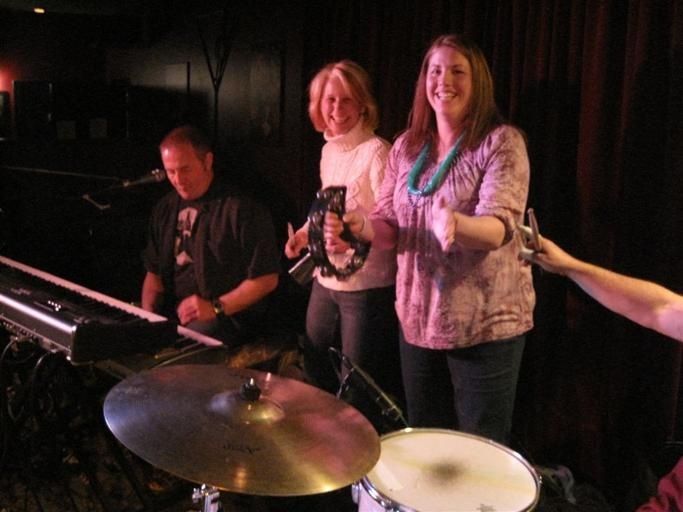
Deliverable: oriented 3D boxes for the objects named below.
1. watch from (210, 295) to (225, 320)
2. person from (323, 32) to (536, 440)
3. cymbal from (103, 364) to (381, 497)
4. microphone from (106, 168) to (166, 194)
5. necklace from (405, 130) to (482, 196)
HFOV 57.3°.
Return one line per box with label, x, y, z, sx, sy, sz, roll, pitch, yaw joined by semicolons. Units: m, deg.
watch;-0.580;0.250;2.990;0.049;0.086;0.086;-26;-9;-25
person;0.320;-0.036;2.174;0.442;1.422;0.570;-11;16;-43
cymbal;-0.287;0.436;1.847;0.781;0.157;0.788;8;10;-21
microphone;-1.172;-0.431;3.644;0.373;0.100;0.099;-15;29;10
necklace;0.327;-0.315;2.183;0.140;0.230;0.035;25;-11;44
